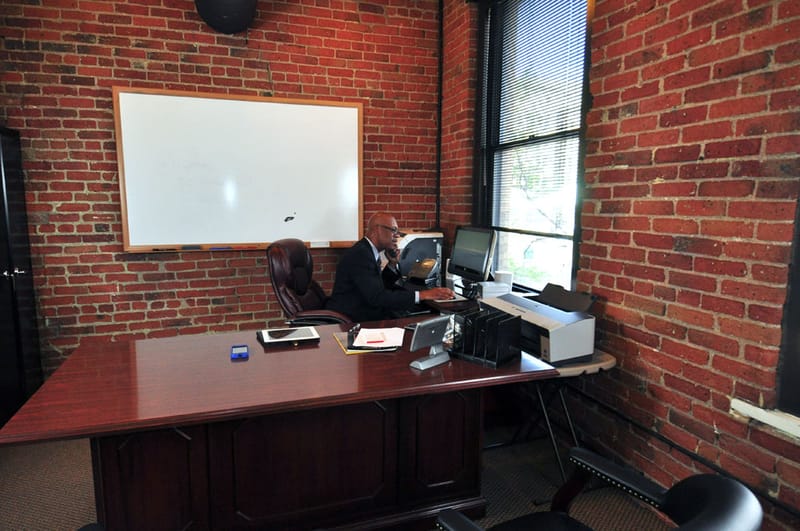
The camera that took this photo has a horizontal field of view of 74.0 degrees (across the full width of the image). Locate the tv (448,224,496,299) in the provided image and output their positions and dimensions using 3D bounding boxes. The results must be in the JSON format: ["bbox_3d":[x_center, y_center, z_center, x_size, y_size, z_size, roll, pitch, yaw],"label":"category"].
[{"bbox_3d":[0.596,-0.020,4.369,0.320,0.564,0.578,-1,6,-19],"label":"tv"}]

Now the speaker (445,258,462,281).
[{"bbox_3d":[0.473,0.030,4.602,0.178,0.166,0.120,-3,21,-12],"label":"speaker"}]

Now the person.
[{"bbox_3d":[-0.208,0.020,4.456,1.127,0.920,0.714,-2,9,-13],"label":"person"}]

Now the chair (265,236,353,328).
[{"bbox_3d":[-0.764,0.098,4.187,0.508,0.612,0.611,-5,11,-14],"label":"chair"}]

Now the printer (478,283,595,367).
[{"bbox_3d":[0.948,0.387,3.369,0.414,0.261,0.559,-5,12,-23],"label":"printer"}]

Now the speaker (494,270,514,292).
[{"bbox_3d":[0.811,0.113,4.181,0.152,0.145,0.152,8,15,29],"label":"speaker"}]

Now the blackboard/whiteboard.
[{"bbox_3d":[-1.561,-0.897,4.800,1.669,0.969,0.069,-2,9,-15],"label":"blackboard/whiteboard"}]

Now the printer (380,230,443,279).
[{"bbox_3d":[0.157,-0.101,4.801,0.546,0.564,0.365,-1,5,-19],"label":"printer"}]
